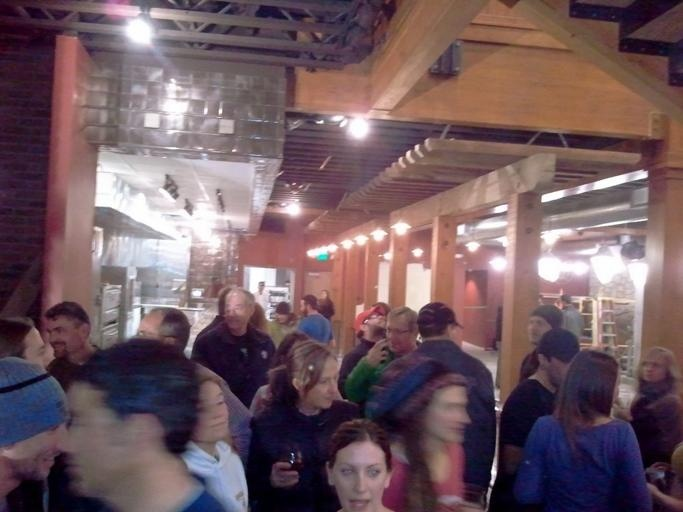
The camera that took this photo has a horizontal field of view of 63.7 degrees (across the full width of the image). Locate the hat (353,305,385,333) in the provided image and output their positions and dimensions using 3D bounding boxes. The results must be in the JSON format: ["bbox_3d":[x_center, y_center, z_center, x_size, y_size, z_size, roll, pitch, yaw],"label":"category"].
[{"bbox_3d":[0.267,0.554,5.065,0.297,0.125,0.375,-3,-13,-27],"label":"hat"}]

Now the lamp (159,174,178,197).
[{"bbox_3d":[-2.574,-1.056,8.369,0.245,0.114,0.338,0,-37,33],"label":"lamp"}]

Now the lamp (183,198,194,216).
[{"bbox_3d":[-3.046,-0.995,11.024,0.187,0.179,0.532,-4,-17,-12],"label":"lamp"}]

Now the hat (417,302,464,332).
[{"bbox_3d":[0.667,0.439,3.811,0.212,0.231,0.196,-12,7,11],"label":"hat"}]

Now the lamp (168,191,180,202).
[{"bbox_3d":[-2.721,-0.977,8.948,0.177,0.151,0.287,-5,-5,-4],"label":"lamp"}]

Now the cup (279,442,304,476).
[{"bbox_3d":[-0.250,1.051,2.858,0.142,0.140,0.131,1,3,0],"label":"cup"}]

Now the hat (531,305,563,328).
[{"bbox_3d":[1.738,0.508,4.614,0.188,0.182,0.240,24,1,19],"label":"hat"}]
